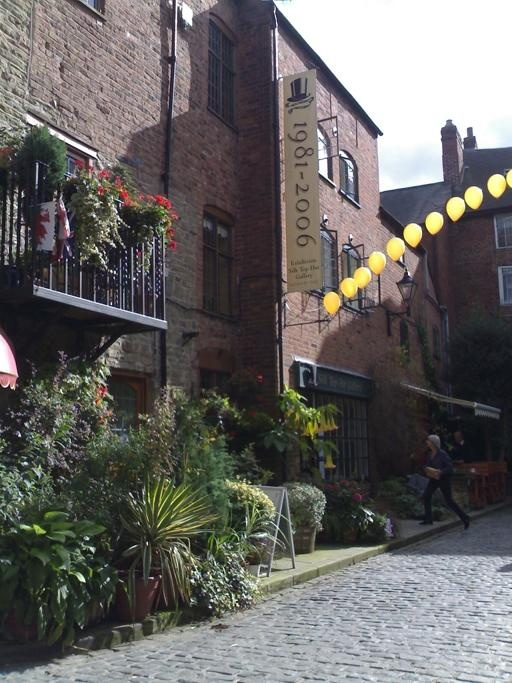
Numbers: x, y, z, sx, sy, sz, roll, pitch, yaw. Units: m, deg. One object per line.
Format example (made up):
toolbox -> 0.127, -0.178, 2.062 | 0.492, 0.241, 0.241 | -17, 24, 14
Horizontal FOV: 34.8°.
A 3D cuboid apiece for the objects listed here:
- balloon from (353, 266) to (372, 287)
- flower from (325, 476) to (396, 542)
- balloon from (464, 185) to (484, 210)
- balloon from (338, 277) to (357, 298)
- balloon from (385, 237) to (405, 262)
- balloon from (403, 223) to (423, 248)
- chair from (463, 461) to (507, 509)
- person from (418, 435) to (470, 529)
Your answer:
balloon -> 1.992, -1.258, 15.507 | 0.275, 0.443, 0.607 | -4, -9, 11
flower -> 1.458, 2.511, 12.229 | 0.750, 0.667, 0.914 | 1, -8, 16
balloon -> 3.092, -2.099, 11.698 | 0.193, 0.393, 0.476 | -7, -9, 27
balloon -> 1.719, -1.033, 15.287 | 0.290, 0.368, 0.503 | -3, -8, 4
balloon -> 2.662, -1.838, 15.709 | 0.272, 0.618, 1.073 | -4, -9, 13
balloon -> 2.744, -1.911, 14.419 | 0.260, 0.434, 0.329 | -3, -8, 5
chair -> 5.502, 3.454, 19.610 | 0.777, 1.034, 3.885 | -5, -9, 18
person -> 3.307, 2.538, 14.647 | 0.772, 1.671, 1.080 | -4, -8, 12
